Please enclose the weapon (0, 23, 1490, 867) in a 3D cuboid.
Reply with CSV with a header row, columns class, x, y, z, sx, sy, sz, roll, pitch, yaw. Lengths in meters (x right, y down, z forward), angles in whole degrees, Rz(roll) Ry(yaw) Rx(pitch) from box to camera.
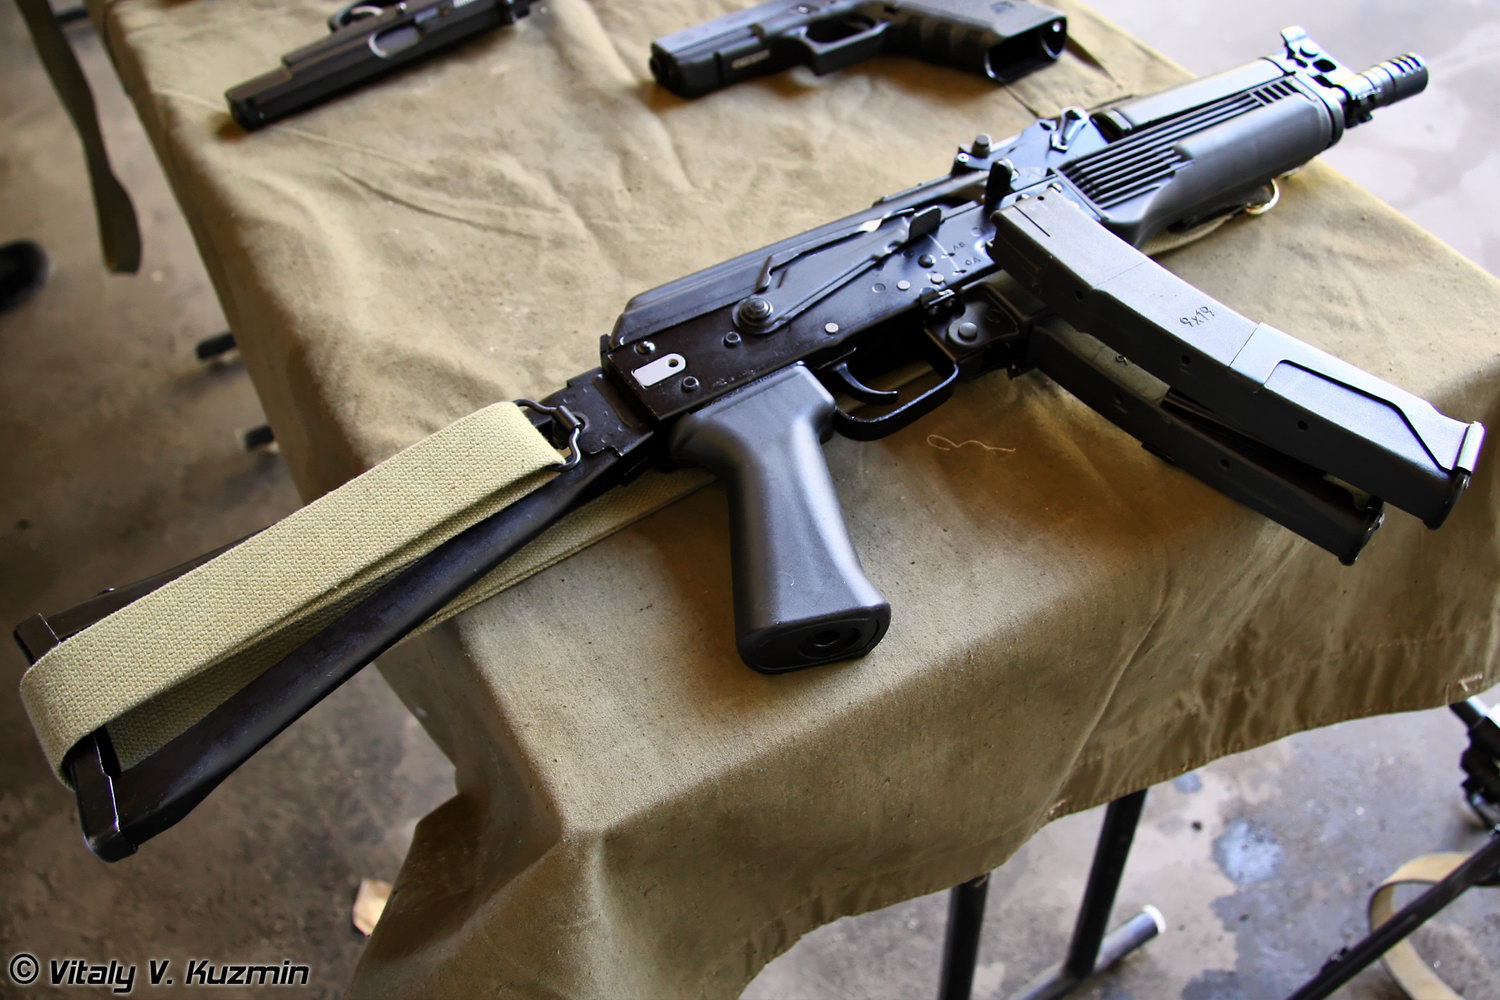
class,x,y,z,sx,sy,sz,roll,pitch,yaw
weapon,0.056,-0.069,1.993,2.349,0.303,1.059,-25,67,-14
